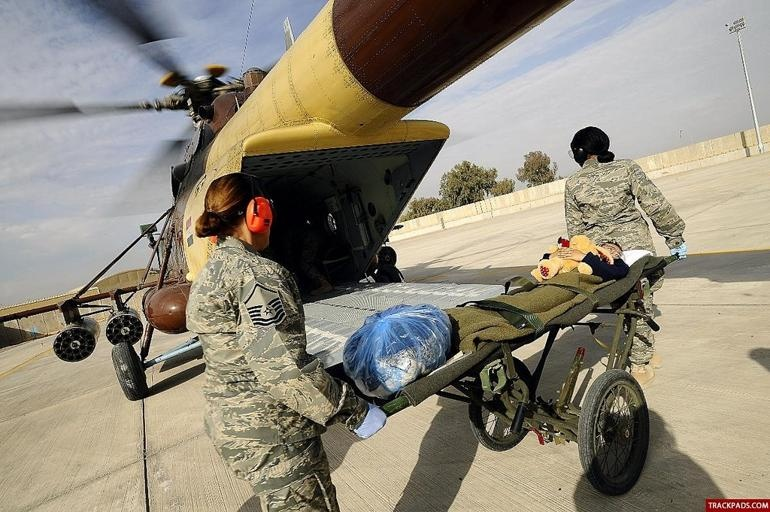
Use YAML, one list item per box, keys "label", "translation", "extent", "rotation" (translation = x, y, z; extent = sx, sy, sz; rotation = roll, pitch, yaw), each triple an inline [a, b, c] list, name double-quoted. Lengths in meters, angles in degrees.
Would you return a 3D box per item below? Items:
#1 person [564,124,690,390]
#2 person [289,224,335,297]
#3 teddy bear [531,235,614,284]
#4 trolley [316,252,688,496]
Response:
- label: "person"
  translation: [2.724, -0.066, 4.418]
  extent: [1.427, 2.887, 0.649]
  rotation: [-9, 5, 25]
- label: "person"
  translation: [-1.345, 0.058, 7.145]
  extent: [0.703, 1.401, 0.601]
  rotation: [-1, 1, -44]
- label: "teddy bear"
  translation: [1.714, 0.028, 3.542]
  extent: [0.611, 0.253, 0.479]
  rotation: [-28, 23, 20]
- label: "trolley"
  translation: [1.554, 0.975, 3.967]
  extent: [4.446, 2.028, 1.575]
  rotation: [-5, -2, -30]
